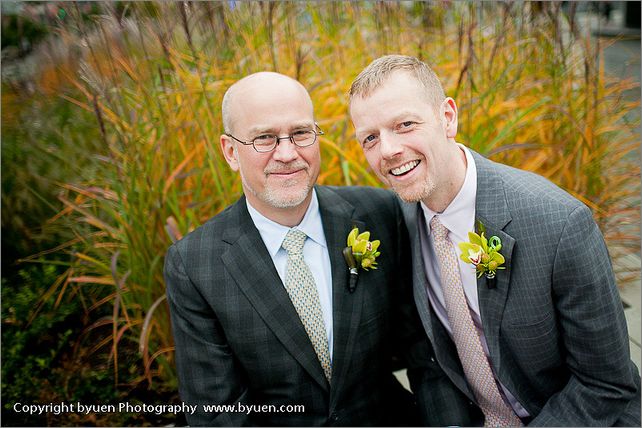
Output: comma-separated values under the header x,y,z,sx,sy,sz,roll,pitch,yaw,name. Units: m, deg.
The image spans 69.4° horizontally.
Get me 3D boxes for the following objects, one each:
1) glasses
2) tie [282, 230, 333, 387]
x,y,z,sx,sy,sz,roll,pitch,yaw,name
-0.280,-0.433,2.758,0.501,0.109,0.119,-6,22,3,glasses
-0.083,0.546,2.745,0.270,0.868,0.108,-13,-13,-13,tie
